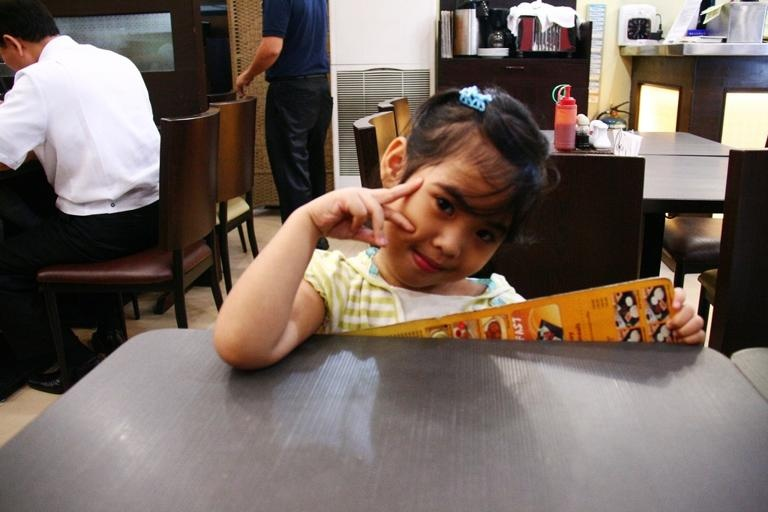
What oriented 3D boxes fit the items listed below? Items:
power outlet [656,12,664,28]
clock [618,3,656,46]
[{"bbox_3d":[2.697,-2.292,5.053,0.100,0.126,0.019,-7,22,-19],"label":"power outlet"},{"bbox_3d":[2.426,-2.223,4.985,0.332,0.355,0.116,5,21,9],"label":"clock"}]
